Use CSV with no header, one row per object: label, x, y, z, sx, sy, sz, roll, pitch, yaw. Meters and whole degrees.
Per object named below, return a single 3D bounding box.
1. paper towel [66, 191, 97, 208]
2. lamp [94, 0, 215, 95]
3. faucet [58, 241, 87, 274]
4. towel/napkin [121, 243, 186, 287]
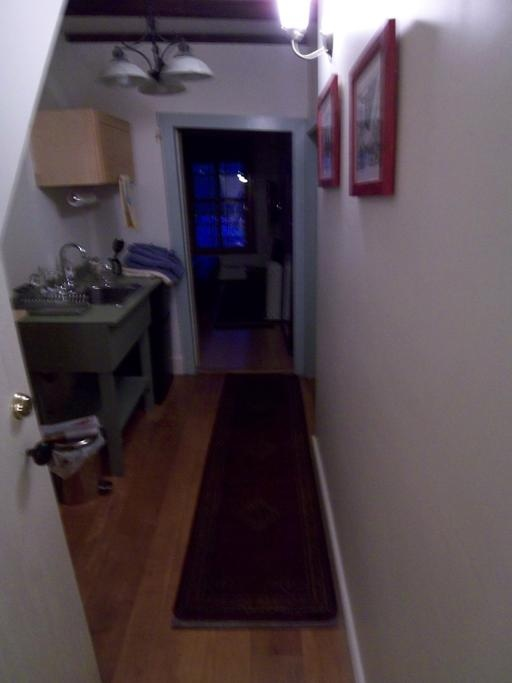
paper towel,-1.028,-0.832,2.908,0.114,0.109,0.033,1,-26,-16
lamp,-0.523,-1.523,2.507,0.333,0.463,0.369,7,20,21
faucet,-1.020,-0.473,2.727,0.144,0.167,0.598,-10,18,-19
towel/napkin,-0.632,-0.505,3.135,0.252,0.122,0.320,5,38,-19
